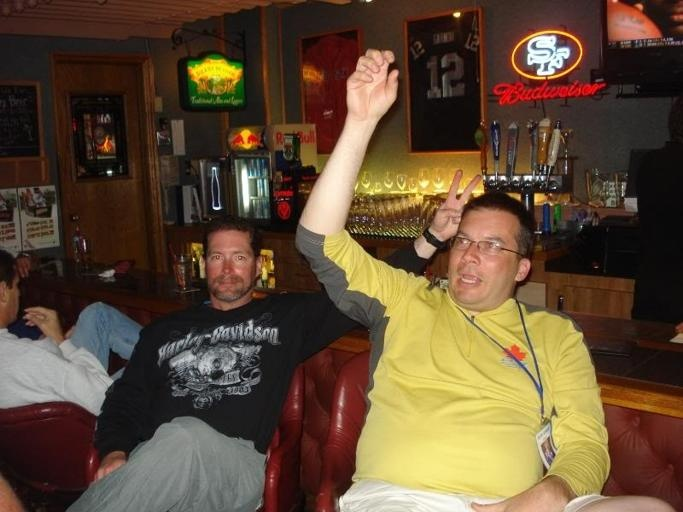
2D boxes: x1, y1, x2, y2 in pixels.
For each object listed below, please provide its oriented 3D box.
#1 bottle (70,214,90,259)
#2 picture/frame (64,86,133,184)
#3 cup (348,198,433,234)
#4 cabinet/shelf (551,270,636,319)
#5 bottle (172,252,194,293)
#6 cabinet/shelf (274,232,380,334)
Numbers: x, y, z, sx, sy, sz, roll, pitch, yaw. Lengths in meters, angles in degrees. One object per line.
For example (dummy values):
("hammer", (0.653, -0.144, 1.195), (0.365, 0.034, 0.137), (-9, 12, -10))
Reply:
("bottle", (-1.995, -0.098, 3.934), (0.089, 0.319, 0.093), (-12, -16, -4))
("picture/frame", (-2.812, -1.309, 6.098), (0.660, 1.011, 0.509), (-6, -7, -17))
("cup", (0.432, -0.337, 4.346), (0.377, 0.179, 0.506), (1, 3, -16))
("cabinet/shelf", (1.899, 0.249, 3.843), (0.252, 0.313, 0.473), (-15, 9, -27))
("bottle", (-0.942, 0.105, 3.080), (0.123, 0.209, 0.123), (-4, 0, 0))
("cabinet/shelf", (-0.072, 0.032, 1.927), (0.316, 0.522, 0.181), (1, 15, -13))
